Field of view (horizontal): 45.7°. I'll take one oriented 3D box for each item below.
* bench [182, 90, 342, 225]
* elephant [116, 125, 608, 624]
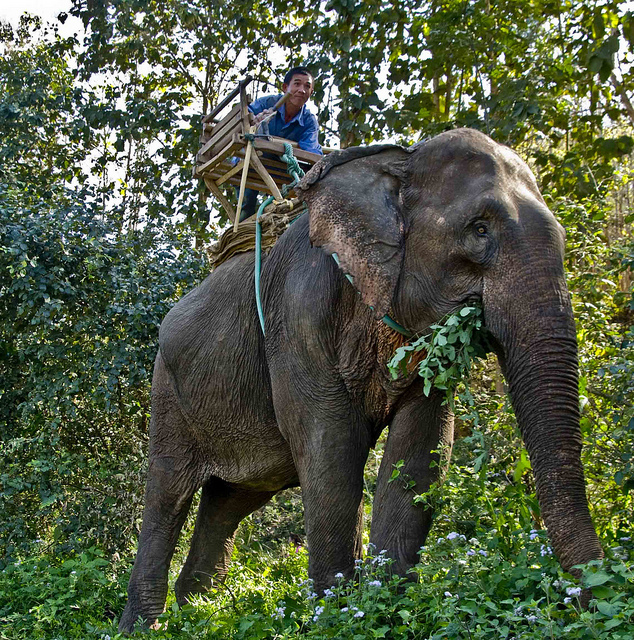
[{"bbox_3d":[-0.382,-0.745,3.930,0.573,0.527,0.481,-9,-26,44],"label":"bench"},{"bbox_3d":[0.340,0.634,3.945,1.382,2.042,3.380,15,-29,-38],"label":"elephant"}]
